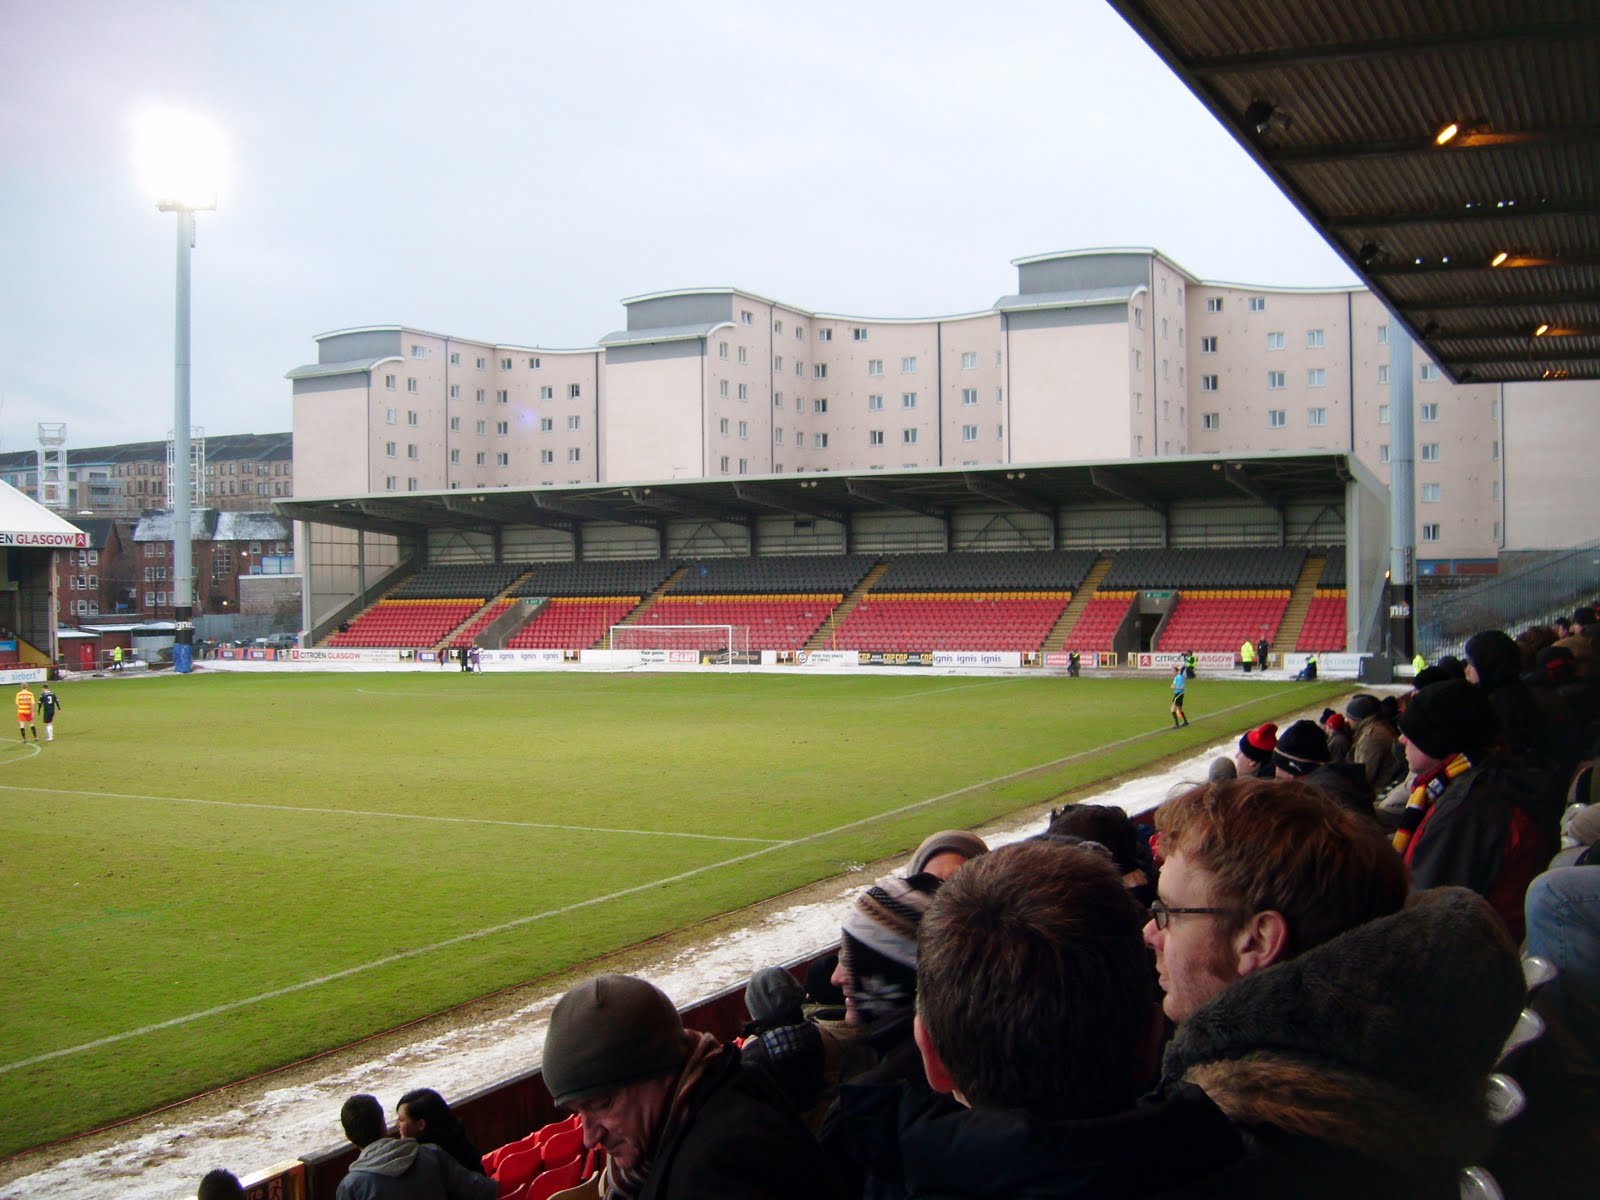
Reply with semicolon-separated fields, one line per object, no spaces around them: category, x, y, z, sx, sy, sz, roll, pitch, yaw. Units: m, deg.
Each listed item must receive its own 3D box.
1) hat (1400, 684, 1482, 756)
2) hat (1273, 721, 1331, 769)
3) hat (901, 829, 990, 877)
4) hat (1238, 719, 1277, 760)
hat;2.610;0.486;6.106;0.312;0.216;0.301;-12;0;35
hat;2.480;0.723;7.301;0.222;0.246;0.274;19;12;29
hat;0.482;0.903;5.001;0.249;0.164;0.228;9;28;-7
hat;2.346;0.732;7.650;0.209;0.125;0.153;5;30;-46
